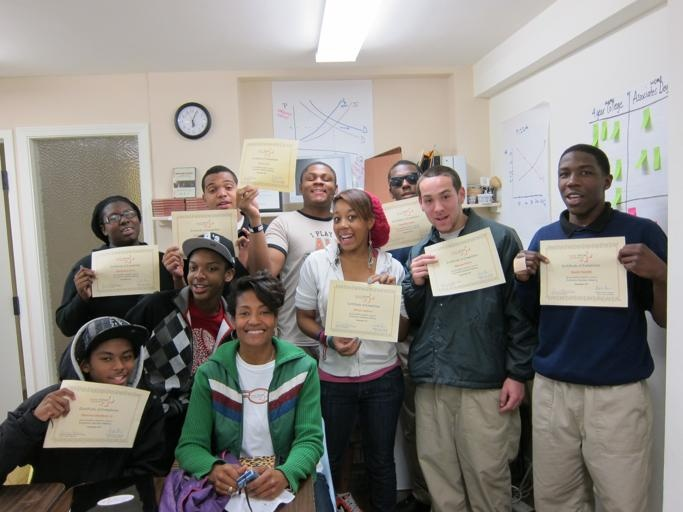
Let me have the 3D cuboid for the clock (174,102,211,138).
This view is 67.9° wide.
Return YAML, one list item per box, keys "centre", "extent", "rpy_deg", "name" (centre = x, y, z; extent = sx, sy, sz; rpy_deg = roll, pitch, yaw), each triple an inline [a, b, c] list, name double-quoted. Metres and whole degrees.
- centre: [-1.235, -1.113, 4.138]
  extent: [0.284, 0.293, 0.047]
  rpy_deg: [-1, 0, 3]
  name: "clock"

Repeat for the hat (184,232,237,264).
- centre: [-0.670, -0.033, 2.508]
  extent: [0.133, 0.100, 0.219]
  rpy_deg: [14, -3, 22]
  name: "hat"

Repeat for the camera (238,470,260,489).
- centre: [-0.358, 0.848, 1.925]
  extent: [0.078, 0.050, 0.032]
  rpy_deg: [-35, -18, -7]
  name: "camera"

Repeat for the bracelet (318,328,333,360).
- centre: [-0.091, 0.441, 2.558]
  extent: [0.104, 0.141, 0.071]
  rpy_deg: [-1, 9, -20]
  name: "bracelet"

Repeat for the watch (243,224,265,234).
- centre: [-0.502, -0.147, 2.818]
  extent: [0.072, 0.049, 0.068]
  rpy_deg: [0, 3, 40]
  name: "watch"
